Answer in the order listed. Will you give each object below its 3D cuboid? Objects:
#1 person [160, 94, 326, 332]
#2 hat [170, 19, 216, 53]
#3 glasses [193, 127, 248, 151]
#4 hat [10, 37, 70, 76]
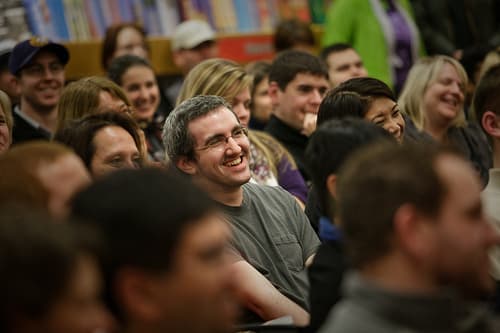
[{"bbox_3d":[-0.015,0.206,3.492,0.819,1.290,1.047,-14,16,-11],"label":"person"},{"bbox_3d":[-0.606,-1.353,5.615,0.298,0.202,0.426,-27,8,-42],"label":"hat"},{"bbox_3d":[-0.181,-0.171,3.632,0.201,0.062,0.204,-19,-11,-43],"label":"glasses"},{"bbox_3d":[-1.698,-0.909,4.436,0.181,0.261,0.523,2,19,37],"label":"hat"}]
